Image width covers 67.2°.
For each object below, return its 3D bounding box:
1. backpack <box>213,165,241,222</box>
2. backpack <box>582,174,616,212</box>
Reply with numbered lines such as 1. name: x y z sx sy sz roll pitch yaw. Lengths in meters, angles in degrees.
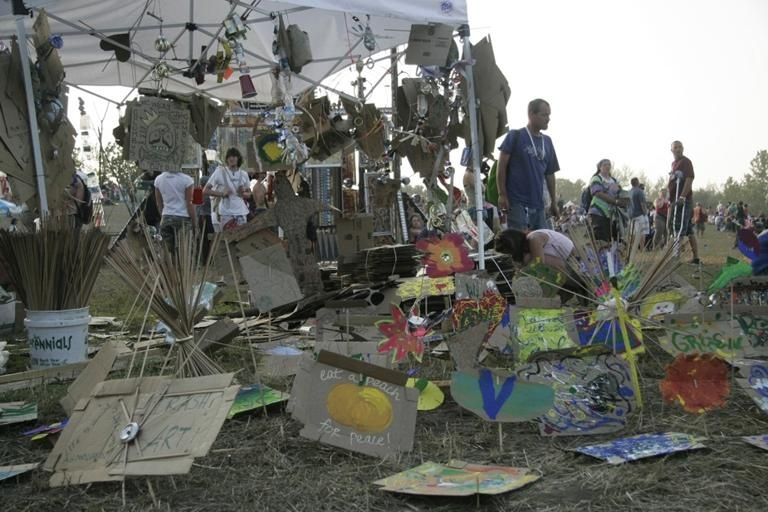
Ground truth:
1. backpack: -1.945 -0.769 7.543 0.549 0.725 0.390 -1 0 -4
2. backpack: 2.950 -0.799 7.858 0.479 0.527 0.481 -5 -10 44
